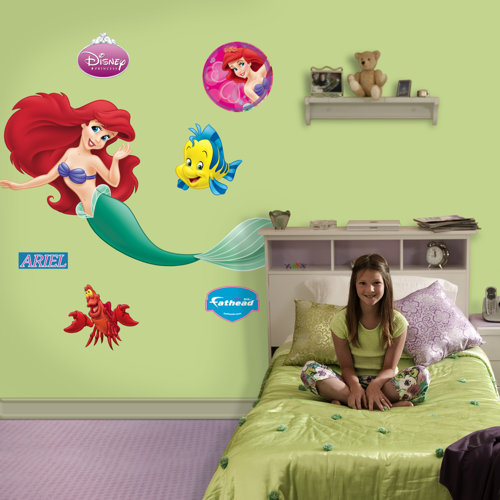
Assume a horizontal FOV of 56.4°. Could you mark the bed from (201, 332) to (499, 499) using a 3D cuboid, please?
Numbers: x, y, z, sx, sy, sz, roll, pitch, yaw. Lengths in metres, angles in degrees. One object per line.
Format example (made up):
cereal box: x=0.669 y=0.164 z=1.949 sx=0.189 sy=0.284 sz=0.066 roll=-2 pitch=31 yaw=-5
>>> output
bed: x=0.487 y=0.700 z=1.891 sx=1.111 sy=0.184 sz=0.991 roll=-1 pitch=3 yaw=10

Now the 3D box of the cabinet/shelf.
cabinet/shelf: x=0.743 y=0.244 z=3.013 sx=1.276 sy=0.732 sz=0.235 roll=0 pitch=1 yaw=4

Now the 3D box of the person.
person: x=0.510 y=0.348 z=2.263 sx=0.736 sy=0.778 sz=0.629 roll=-1 pitch=-6 yaw=12

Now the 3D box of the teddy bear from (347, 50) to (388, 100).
teddy bear: x=0.740 y=-1.096 z=2.930 sx=0.239 sy=0.335 sz=0.193 roll=-1 pitch=4 yaw=12

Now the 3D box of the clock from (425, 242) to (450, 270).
clock: x=1.178 y=0.037 z=2.926 sx=0.173 sy=0.195 sz=0.092 roll=-4 pitch=2 yaw=42

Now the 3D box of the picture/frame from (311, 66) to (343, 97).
picture/frame: x=0.495 y=-1.063 z=2.970 sx=0.242 sy=0.181 sz=0.026 roll=1 pitch=0 yaw=2
